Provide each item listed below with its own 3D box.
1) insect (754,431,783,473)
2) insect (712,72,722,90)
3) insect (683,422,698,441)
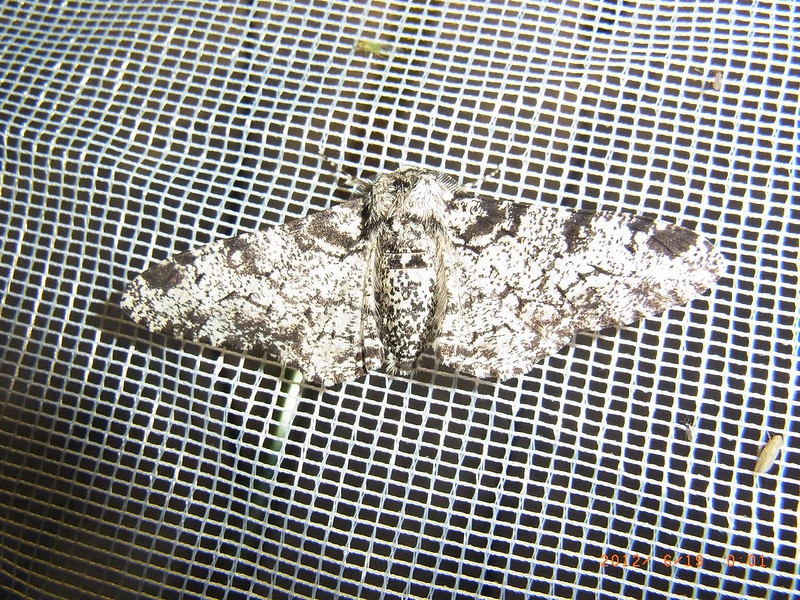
[{"bbox_3d":[1.832,0.757,4.493,0.123,0.052,0.177,37,88,11],"label":"insect"},{"bbox_3d":[1.650,-1.127,4.697,0.040,0.042,0.097,5,61,38],"label":"insect"},{"bbox_3d":[1.446,0.655,4.513,0.071,0.032,0.077,-8,79,31],"label":"insect"}]
